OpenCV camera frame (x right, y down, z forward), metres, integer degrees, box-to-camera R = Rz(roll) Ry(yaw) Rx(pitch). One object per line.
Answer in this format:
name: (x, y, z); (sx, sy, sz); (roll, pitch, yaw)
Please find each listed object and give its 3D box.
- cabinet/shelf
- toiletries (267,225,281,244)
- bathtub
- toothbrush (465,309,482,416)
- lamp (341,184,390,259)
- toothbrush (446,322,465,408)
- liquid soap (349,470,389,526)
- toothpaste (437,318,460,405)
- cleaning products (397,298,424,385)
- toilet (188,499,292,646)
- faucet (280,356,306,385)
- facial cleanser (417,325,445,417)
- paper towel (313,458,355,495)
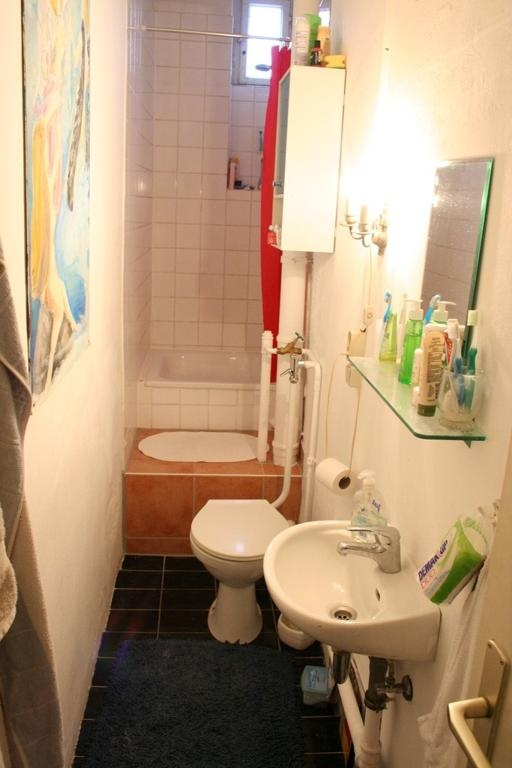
cabinet/shelf: (0.226, -0.944, 2.396); (0.212, 0.642, 0.579); (-1, 19, -8)
toiletries: (0.089, -0.704, 2.681); (0.028, 0.115, 0.077); (-7, 17, -26)
bathtub: (-0.353, 0.006, 3.882); (0.836, 0.371, 1.170); (3, 12, -8)
toothbrush: (0.348, -0.027, 0.914); (0.027, 0.190, 0.028); (9, 26, 30)
lamp: (0.327, -0.465, 1.630); (0.080, 0.228, 0.139); (-3, 19, -11)
toothbrush: (0.333, -0.038, 0.935); (0.036, 0.129, 0.115); (6, 11, 17)
liquid soap: (0.302, 0.308, 1.406); (0.071, 0.149, 0.120); (-2, 15, -13)
toothpaste: (0.322, -0.045, 0.938); (0.017, 0.126, 0.058); (-3, 22, -15)
cleaning products: (0.324, -0.082, 1.172); (0.037, 0.165, 0.040); (16, 25, 27)
toilet: (-0.083, 0.816, 2.441); (0.357, 0.486, 0.501); (1, 16, 0)
faucet: (0.185, -0.066, 2.615); (0.061, 0.136, 0.180); (4, 12, 2)
facial cleanser: (0.304, -0.024, 0.966); (0.055, 0.138, 0.068); (3, 14, 0)
paper towel: (0.260, 0.309, 1.926); (0.097, 0.119, 0.125); (22, 0, -22)
